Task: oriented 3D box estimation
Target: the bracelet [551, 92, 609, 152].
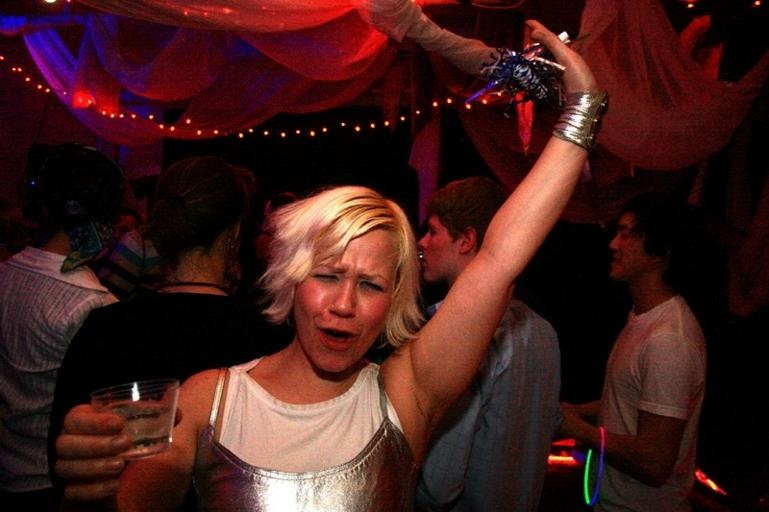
[{"bbox_3d":[1.081,-0.745,3.458,0.266,0.333,0.070,7,0,12],"label":"bracelet"}]
